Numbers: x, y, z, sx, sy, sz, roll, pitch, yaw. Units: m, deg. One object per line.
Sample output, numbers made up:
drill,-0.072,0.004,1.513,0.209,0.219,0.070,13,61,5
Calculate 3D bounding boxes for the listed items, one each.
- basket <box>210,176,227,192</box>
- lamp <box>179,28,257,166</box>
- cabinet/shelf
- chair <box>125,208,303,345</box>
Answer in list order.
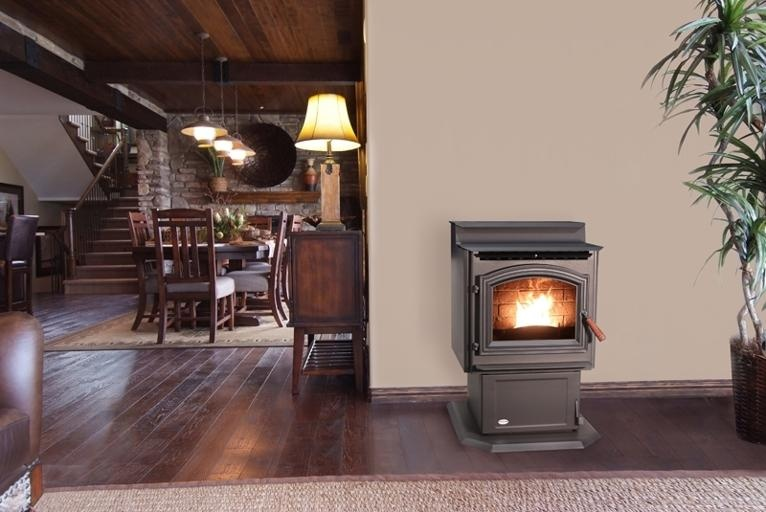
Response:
basket,-2.556,-1.125,8.786,0.256,0.184,0.255,2,4,38
lamp,-2.141,-1.844,7.564,1.048,1.329,3.451,-1,-3,-19
cabinet/shelf,-0.413,0.406,4.229,0.538,1.193,0.626,-1,-2,-3
chair,-1.772,0.171,5.647,1.336,1.293,1.598,0,-3,-29
